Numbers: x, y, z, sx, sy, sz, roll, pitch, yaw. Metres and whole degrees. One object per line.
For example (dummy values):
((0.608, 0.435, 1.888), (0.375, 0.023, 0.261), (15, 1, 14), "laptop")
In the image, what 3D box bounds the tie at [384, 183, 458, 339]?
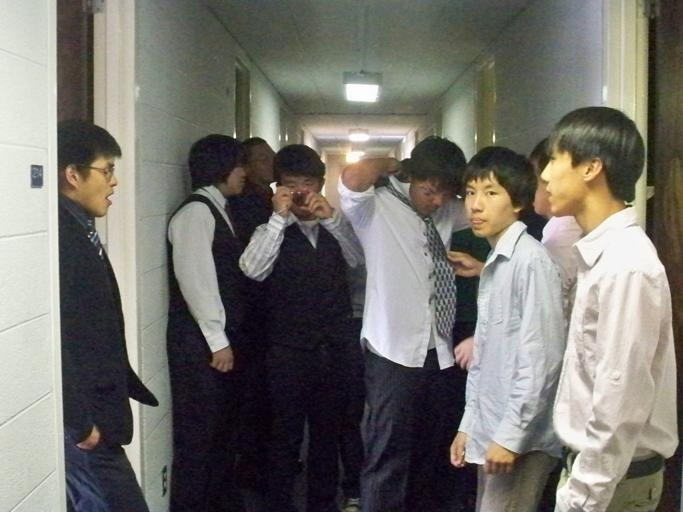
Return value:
((0.294, -0.073, 2.276), (0.145, 0.679, 0.040), (-7, 14, 13), "tie")

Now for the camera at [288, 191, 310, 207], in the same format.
((-0.135, -0.187, 2.265), (0.045, 0.041, 0.043), (-1, -6, -3), "camera")

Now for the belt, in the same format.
((0.781, 0.580, 1.969), (0.160, 0.053, 0.117), (-6, 5, -5), "belt")

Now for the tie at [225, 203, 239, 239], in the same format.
((-0.359, -0.124, 2.304), (0.041, 0.108, 0.012), (3, 10, 0), "tie")
